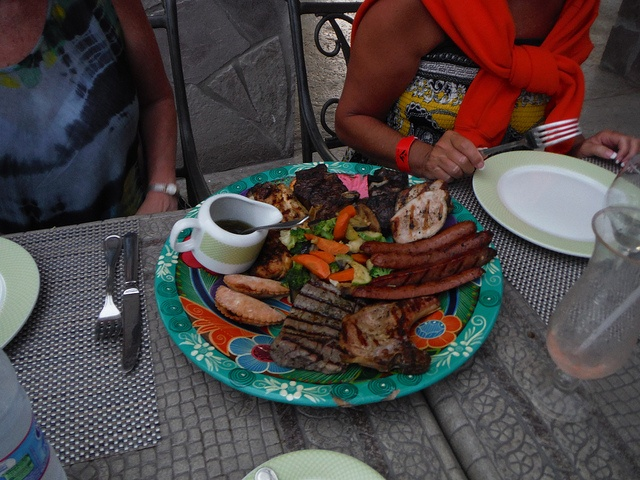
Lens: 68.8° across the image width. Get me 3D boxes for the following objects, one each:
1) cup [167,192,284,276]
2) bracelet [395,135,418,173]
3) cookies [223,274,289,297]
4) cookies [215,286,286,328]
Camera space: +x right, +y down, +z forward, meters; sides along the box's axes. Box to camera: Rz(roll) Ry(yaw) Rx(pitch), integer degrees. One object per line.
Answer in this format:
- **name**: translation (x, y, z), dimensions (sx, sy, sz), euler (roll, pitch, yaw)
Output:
- **cup**: translation (-0.294, -0.008, 1.475), dimensions (0.321, 0.187, 0.218), euler (-13, 62, -29)
- **bracelet**: translation (0.375, -0.385, 2.099), dimensions (0.049, 0.146, 0.145), euler (-2, 16, 25)
- **cookies**: translation (-0.190, 0.131, 1.376), dimensions (0.116, 0.030, 0.093), euler (15, 16, -9)
- **cookies**: translation (-0.208, 0.182, 1.303), dimensions (0.149, 0.040, 0.104), euler (26, 25, 19)
